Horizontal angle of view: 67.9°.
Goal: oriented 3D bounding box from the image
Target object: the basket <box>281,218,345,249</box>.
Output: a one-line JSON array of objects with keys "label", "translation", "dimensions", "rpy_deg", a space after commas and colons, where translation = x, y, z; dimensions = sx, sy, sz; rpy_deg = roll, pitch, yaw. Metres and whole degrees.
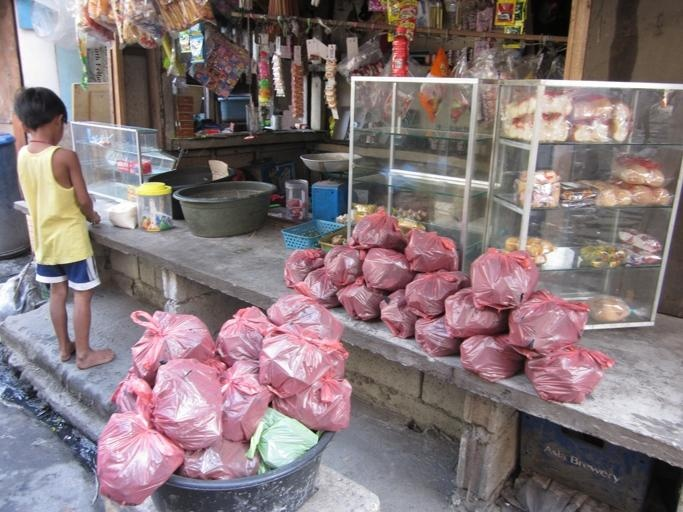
[{"label": "basket", "translation": [-0.264, -0.177, 3.958], "dimensions": [0.299, 0.106, 0.376], "rpy_deg": [11, 17, 42]}]

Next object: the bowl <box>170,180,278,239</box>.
[{"label": "bowl", "translation": [-0.936, -0.399, 4.237], "dimensions": [0.635, 0.236, 0.670], "rpy_deg": [0, 10, 0]}]

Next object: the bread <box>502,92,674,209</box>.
[{"label": "bread", "translation": [1.346, -0.594, 2.971], "dimensions": [1.230, 0.699, 0.592], "rpy_deg": [-1, 14, -3]}]

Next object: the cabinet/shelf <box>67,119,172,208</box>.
[{"label": "cabinet/shelf", "translation": [-2.038, -0.909, 4.868], "dimensions": [1.161, 0.701, 0.426], "rpy_deg": [18, 23, 34]}]

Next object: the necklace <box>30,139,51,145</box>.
[{"label": "necklace", "translation": [-1.969, -0.753, 3.287], "dimensions": [0.141, 0.026, 0.053], "rpy_deg": [6, 17, 17]}]
